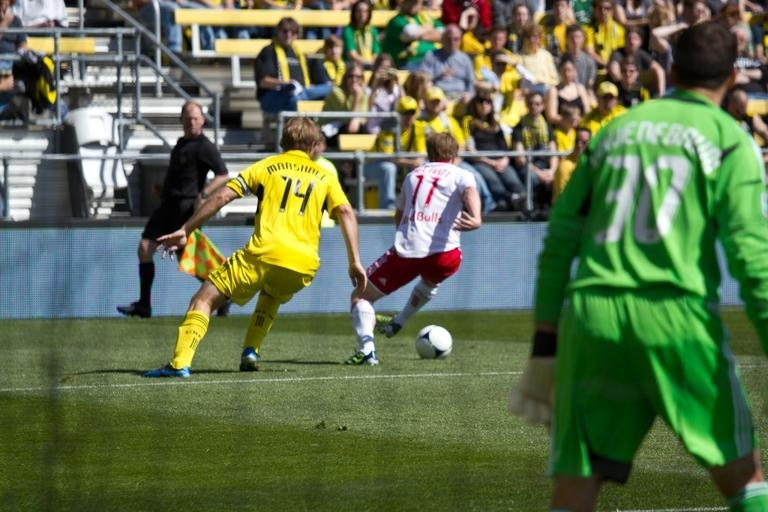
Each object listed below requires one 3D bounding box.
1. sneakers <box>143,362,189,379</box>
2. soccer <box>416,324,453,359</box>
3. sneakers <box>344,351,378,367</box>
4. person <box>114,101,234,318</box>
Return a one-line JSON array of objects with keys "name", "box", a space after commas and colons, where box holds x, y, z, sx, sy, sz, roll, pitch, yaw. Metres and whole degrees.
[{"name": "sneakers", "box": [-1.828, 0.997, 11.196, 0.380, 0.137, 0.136, 5, -1, 5]}, {"name": "soccer", "box": [0.454, 0.825, 11.970, 0.304, 0.321, 0.252, -1, 9, -1]}, {"name": "sneakers", "box": [-0.187, 0.957, 11.963, 0.330, 0.139, 0.117, 2, 1, 15]}, {"name": "person", "box": [-2.140, -0.449, 13.798, 1.296, 2.299, 1.169, -2, 10, -31]}]
